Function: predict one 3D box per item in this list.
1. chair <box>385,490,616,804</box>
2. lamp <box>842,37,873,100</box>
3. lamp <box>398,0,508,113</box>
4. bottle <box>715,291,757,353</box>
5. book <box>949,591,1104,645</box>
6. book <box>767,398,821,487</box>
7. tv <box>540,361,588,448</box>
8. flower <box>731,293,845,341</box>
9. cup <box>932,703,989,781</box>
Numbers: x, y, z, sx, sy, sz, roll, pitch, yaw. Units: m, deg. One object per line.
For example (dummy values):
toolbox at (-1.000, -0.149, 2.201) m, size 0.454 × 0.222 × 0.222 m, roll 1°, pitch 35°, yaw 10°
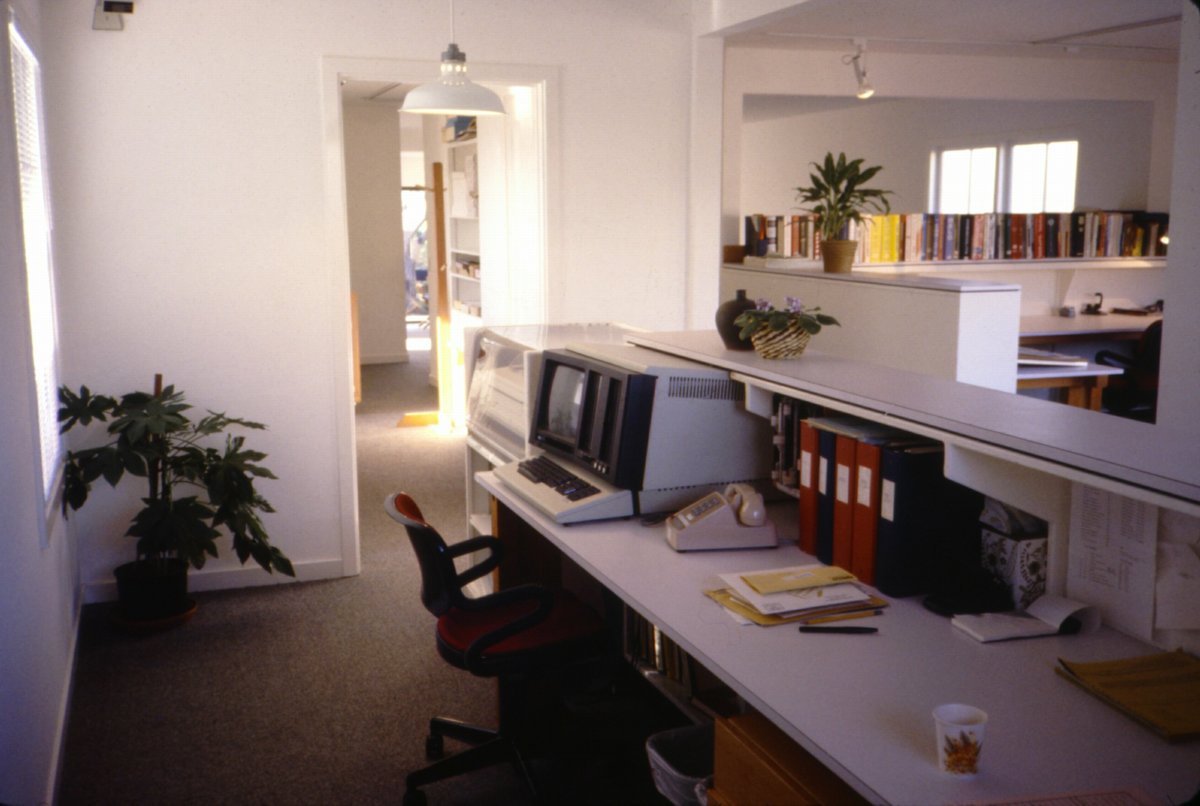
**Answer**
chair at (-0.367, 0.959, 3.876) m, size 1.047 × 1.348 × 1.089 m, roll -2°, pitch 11°, yaw -13°
lamp at (1.761, -2.256, 5.938) m, size 0.176 × 0.351 × 0.220 m, roll 11°, pitch 19°, yaw 38°
lamp at (-0.709, -1.707, 4.267) m, size 0.422 × 0.596 × 0.887 m, roll -2°, pitch 15°, yaw -7°
bottle at (0.546, -0.339, 3.565) m, size 0.217 × 0.260 × 0.211 m, roll 5°, pitch 7°, yaw 38°
book at (1.277, 0.660, 2.657) m, size 0.243 × 0.060 × 0.182 m, roll -3°, pitch 6°, yaw -3°
book at (0.714, 0.154, 3.319) m, size 0.080 × 0.309 × 0.225 m, roll 1°, pitch 3°, yaw -23°
tv at (-0.145, 0.016, 3.743) m, size 0.181 × 0.317 × 0.332 m, roll 8°, pitch 0°, yaw -22°
flower at (0.913, -0.403, 4.142) m, size 0.441 × 0.185 × 0.490 m, roll 1°, pitch 5°, yaw 2°
cup at (0.886, 0.836, 2.213) m, size 0.144 × 0.160 × 0.146 m, roll 0°, pitch 5°, yaw 0°
